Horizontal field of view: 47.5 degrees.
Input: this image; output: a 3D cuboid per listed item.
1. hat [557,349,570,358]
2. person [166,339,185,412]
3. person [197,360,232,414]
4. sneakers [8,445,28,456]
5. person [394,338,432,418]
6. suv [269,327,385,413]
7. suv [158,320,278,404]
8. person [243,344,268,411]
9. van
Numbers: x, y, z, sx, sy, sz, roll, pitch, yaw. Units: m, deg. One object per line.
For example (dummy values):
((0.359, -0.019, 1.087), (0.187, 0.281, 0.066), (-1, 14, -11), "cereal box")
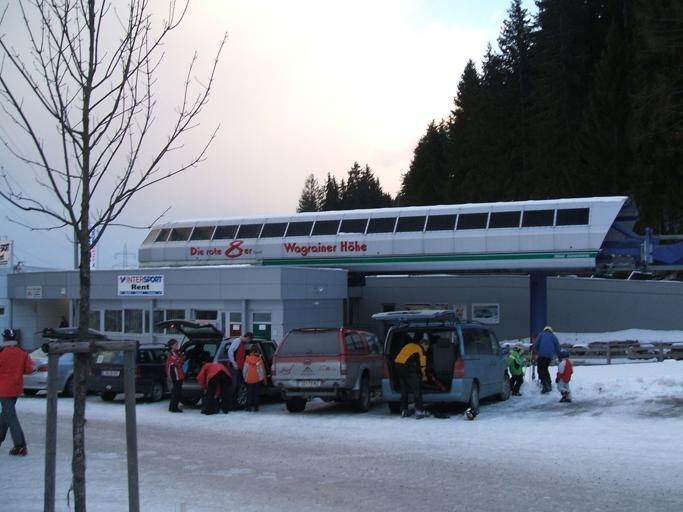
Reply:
((5.973, 2.653, 21.040), (0.232, 0.260, 0.298), (7, -2, -38), "hat")
((-4.553, 3.280, 21.405), (0.435, 1.968, 1.202), (0, -6, -13), "person")
((-3.361, 3.530, 20.851), (0.741, 1.341, 1.040), (-4, -7, 26), "person")
((-6.095, 3.676, 14.656), (0.352, 0.176, 0.142), (3, -6, 10), "sneakers")
((1.764, 3.064, 19.484), (0.757, 1.923, 0.992), (-2, -6, 7), "person")
((-0.048, 2.982, 21.485), (1.686, 1.586, 3.257), (-1, -2, 18), "suv")
((-3.474, 3.085, 23.214), (1.969, 2.358, 3.561), (-2, -3, 30), "suv")
((-2.394, 3.369, 21.510), (0.614, 1.796, 0.927), (-1, -6, -7), "person")
((2.907, 2.645, 20.575), (1.718, 2.062, 4.464), (-2, -4, 27), "van")
